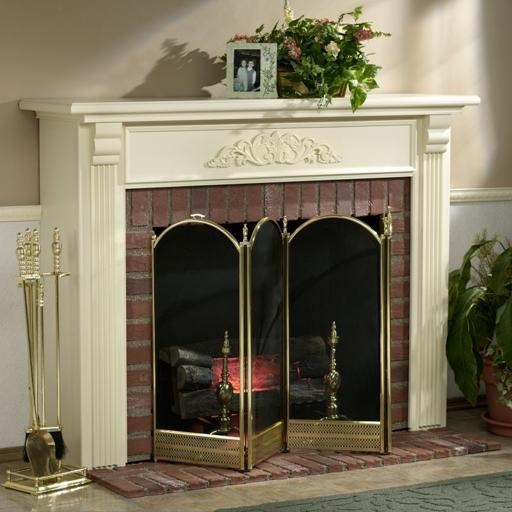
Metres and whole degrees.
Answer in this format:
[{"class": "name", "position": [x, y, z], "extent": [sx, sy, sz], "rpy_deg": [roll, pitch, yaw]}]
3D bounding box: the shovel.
[{"class": "shovel", "position": [-0.851, 0.386, 2.729], "extent": [0.110, 0.995, 0.192], "rpy_deg": [0, 3, 5]}]

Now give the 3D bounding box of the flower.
[{"class": "flower", "position": [0.197, -0.888, 3.155], "extent": [0.698, 0.535, 0.535], "rpy_deg": [1, 4, -3]}]

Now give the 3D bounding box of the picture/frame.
[{"class": "picture/frame", "position": [-0.019, -0.765, 2.901], "extent": [0.251, 0.252, 0.026], "rpy_deg": [0, -1, -7]}]
